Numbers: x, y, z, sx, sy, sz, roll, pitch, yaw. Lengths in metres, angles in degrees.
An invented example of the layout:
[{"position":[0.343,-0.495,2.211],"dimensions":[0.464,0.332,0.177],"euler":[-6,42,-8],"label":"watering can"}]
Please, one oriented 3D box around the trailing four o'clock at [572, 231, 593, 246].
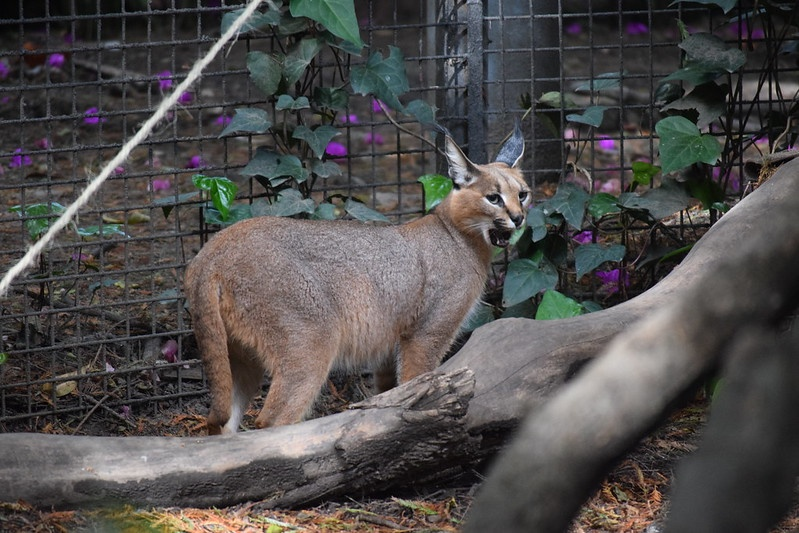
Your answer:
[{"position":[1.498,-0.228,8.504],"dimensions":[0.146,0.053,0.122],"euler":[-13,-16,38],"label":"trailing four o'clock"}]
